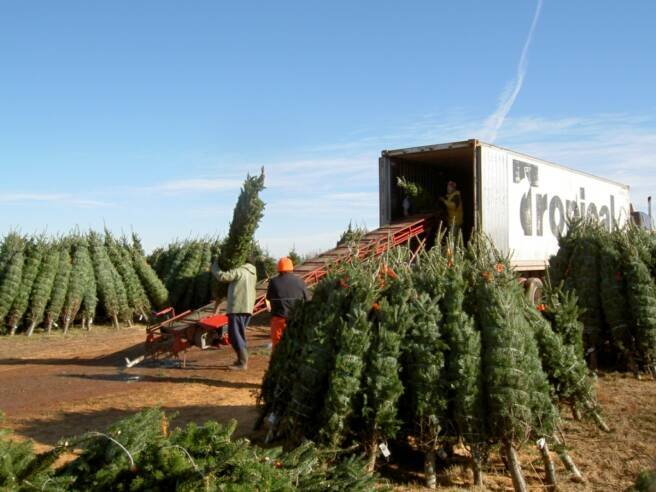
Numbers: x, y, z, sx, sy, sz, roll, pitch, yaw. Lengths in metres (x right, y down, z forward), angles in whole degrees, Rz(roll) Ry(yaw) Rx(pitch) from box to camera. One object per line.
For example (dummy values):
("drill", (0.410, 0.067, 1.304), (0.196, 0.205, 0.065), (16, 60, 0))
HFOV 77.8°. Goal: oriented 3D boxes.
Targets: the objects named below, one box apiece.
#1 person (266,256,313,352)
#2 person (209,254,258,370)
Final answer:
("person", (-0.771, 0.981, 7.630), (0.711, 1.542, 0.647), (2, -5, -10))
("person", (-2.038, 1.534, 8.926), (0.863, 2.462, 0.959), (2, -5, -12))
